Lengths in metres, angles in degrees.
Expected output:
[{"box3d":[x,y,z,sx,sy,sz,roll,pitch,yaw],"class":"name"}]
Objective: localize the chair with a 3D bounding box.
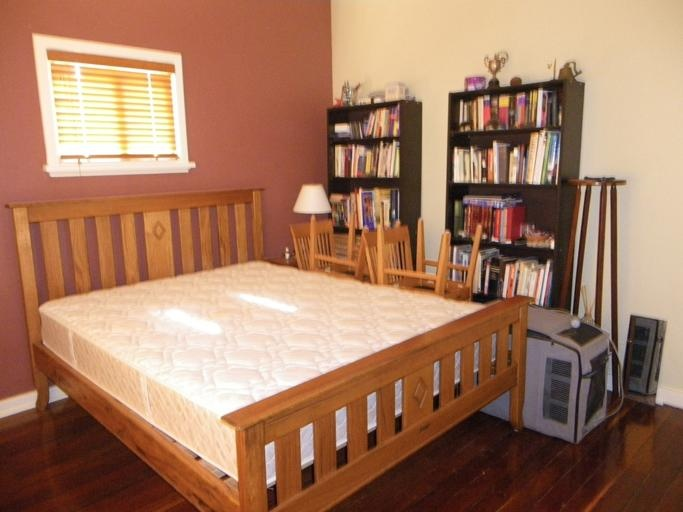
[{"box3d":[0.386,-0.004,4.364,1.252,0.910,0.743,4,15,36],"class":"chair"}]
